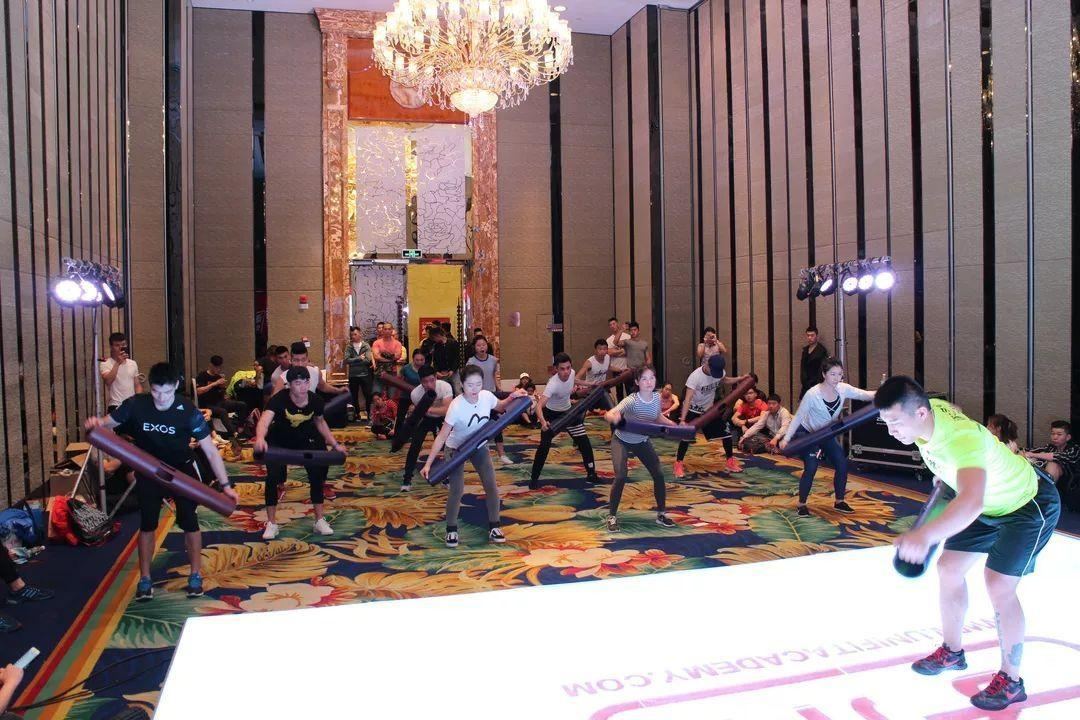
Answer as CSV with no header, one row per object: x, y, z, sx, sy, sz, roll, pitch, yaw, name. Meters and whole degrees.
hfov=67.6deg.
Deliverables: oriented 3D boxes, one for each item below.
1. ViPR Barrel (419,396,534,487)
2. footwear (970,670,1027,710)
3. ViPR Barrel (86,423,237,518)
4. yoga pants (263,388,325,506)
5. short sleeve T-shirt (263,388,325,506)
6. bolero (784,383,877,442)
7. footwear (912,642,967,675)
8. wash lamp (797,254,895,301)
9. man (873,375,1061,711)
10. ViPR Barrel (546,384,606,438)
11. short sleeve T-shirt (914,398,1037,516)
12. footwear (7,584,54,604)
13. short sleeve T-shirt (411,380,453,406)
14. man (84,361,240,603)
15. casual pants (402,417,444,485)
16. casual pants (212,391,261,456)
-0.573,0.724,7.509,0.318,0.640,1.129,5,9,40,ViPR Barrel
2.739,1.969,4.864,0.374,0.146,0.154,-7,-5,-29,footwear
-3.415,0.986,7.090,1.597,0.297,0.262,33,29,-9,ViPR Barrel
-2.376,0.955,7.733,0.648,1.295,0.508,1,5,-22,yoga pants
-2.376,0.951,7.740,0.623,1.301,0.500,2,6,-21,short sleeve T-shirt
2.988,0.505,8.255,1.112,0.525,0.336,-6,9,9,bolero
2.479,1.871,5.099,0.391,0.158,0.144,-3,-10,-11,footwear
3.804,-1.034,10.101,0.360,0.482,1.293,-5,7,-24,wash lamp
2.639,1.062,5.018,1.089,1.936,0.885,1,8,21,man
0.416,0.556,9.096,0.634,0.141,0.615,-35,-2,-1,ViPR Barrel
2.742,0.524,5.018,0.443,0.604,0.218,-18,40,9,short sleeve T-shirt
-4.104,1.852,6.499,0.360,0.140,0.154,-1,6,-23,footwear
-1.254,0.379,9.311,0.391,0.151,0.358,5,-27,-9,short sleeve T-shirt
-3.121,0.980,6.544,1.272,1.836,0.768,1,1,-12,man
-1.318,0.989,8.913,0.231,0.813,0.239,24,-6,37,casual pants
-4.508,0.917,11.977,0.766,0.851,0.327,0,13,-9,casual pants
